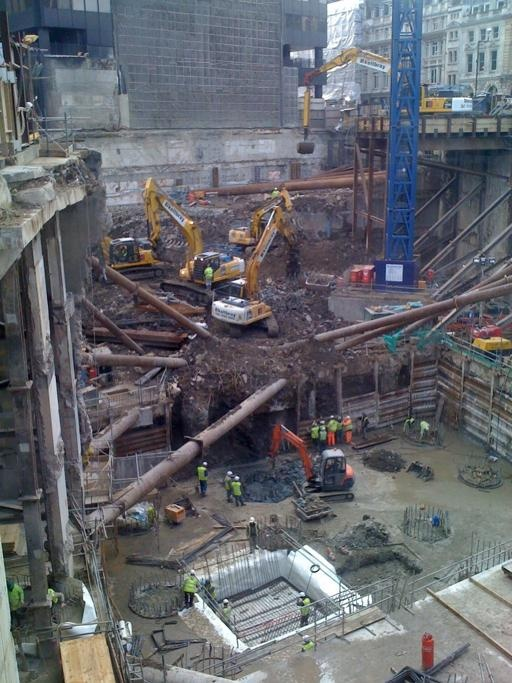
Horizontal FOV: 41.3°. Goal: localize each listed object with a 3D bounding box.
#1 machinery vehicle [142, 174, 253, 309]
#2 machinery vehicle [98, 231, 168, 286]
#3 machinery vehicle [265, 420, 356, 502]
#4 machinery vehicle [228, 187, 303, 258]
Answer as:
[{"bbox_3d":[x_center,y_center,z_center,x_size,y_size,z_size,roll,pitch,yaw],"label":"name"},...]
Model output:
[{"bbox_3d":[-3.597,-5.774,38.833,5.539,7.443,3.825,-16,25,-40],"label":"machinery vehicle"},{"bbox_3d":[-8.072,-5.147,42.186,4.443,2.798,3.831,-7,19,-22],"label":"machinery vehicle"},{"bbox_3d":[2.248,4.595,26.721,2.062,2.449,3.399,-9,14,-23],"label":"machinery vehicle"},{"bbox_3d":[1.508,-7.572,41.007,2.426,5.201,8.817,-7,19,-19],"label":"machinery vehicle"}]
